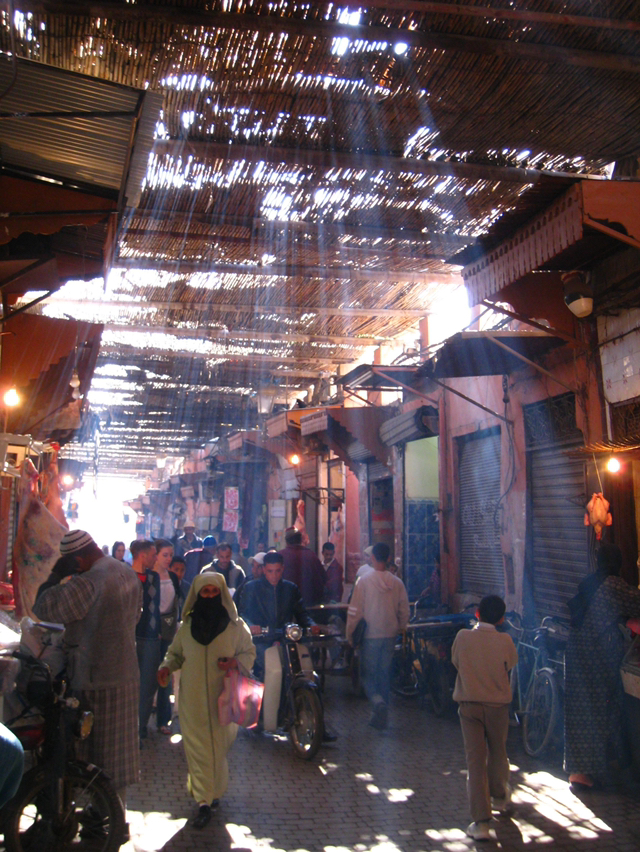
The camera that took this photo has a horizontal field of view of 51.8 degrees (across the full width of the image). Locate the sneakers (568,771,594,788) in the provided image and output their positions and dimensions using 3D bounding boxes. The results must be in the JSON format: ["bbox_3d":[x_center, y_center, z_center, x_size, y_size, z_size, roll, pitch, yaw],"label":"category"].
[{"bbox_3d":[1.931,2.631,4.888,0.111,0.052,0.147,-1,2,1],"label":"sneakers"}]

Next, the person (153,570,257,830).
[{"bbox_3d":[-0.758,1.757,4.426,0.621,1.517,0.569,2,-13,-6],"label":"person"}]

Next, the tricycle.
[{"bbox_3d":[0.623,2.290,7.306,0.697,1.599,0.500,-1,1,-23],"label":"tricycle"}]

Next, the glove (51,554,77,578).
[{"bbox_3d":[-1.719,0.952,4.462,0.151,0.110,0.451,-18,-12,-24],"label":"glove"}]

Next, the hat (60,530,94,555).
[{"bbox_3d":[-1.361,0.647,3.733,0.115,0.106,0.166,-7,7,12],"label":"hat"}]

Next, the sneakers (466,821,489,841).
[{"bbox_3d":[0.922,2.353,3.841,0.127,0.126,0.074,-7,-16,14],"label":"sneakers"}]

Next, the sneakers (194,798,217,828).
[{"bbox_3d":[-0.707,2.427,4.116,0.072,0.088,0.216,-1,4,2],"label":"sneakers"}]

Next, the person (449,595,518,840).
[{"bbox_3d":[1.058,1.796,4.208,0.398,1.385,0.553,0,-13,4],"label":"person"}]
